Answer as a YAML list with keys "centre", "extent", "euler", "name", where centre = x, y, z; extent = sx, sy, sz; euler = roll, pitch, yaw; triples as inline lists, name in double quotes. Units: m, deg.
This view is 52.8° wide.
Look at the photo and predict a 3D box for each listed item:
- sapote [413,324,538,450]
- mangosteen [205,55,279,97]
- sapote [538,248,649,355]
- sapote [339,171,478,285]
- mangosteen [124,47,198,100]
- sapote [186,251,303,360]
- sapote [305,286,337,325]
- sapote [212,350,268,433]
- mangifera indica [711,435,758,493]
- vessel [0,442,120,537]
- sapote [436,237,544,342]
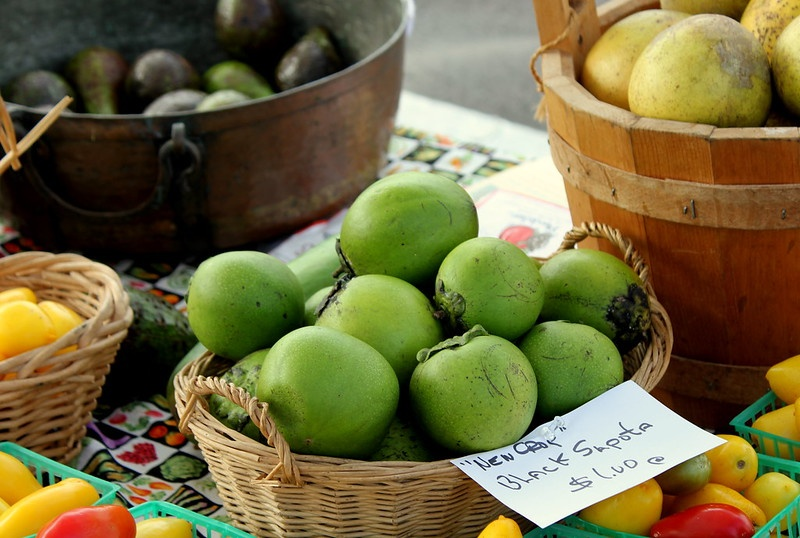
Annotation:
- centre: [0.098, 0.162, 1.035]
  extent: [0.159, 0.148, 0.158]
  euler: [-12, 11, -8]
  name: "sapote"
- centre: [-0.337, -0.385, 1.707]
  extent: [0.141, 0.090, 0.085]
  euler: [20, 34, 5]
  name: "mangosteen"
- centre: [0.271, 0.049, 1.172]
  extent: [0.143, 0.151, 0.190]
  euler: [-4, 11, -40]
  name: "sapote"
- centre: [0.007, -0.058, 1.156]
  extent: [0.207, 0.166, 0.158]
  euler: [-12, 17, -10]
  name: "sapote"
- centre: [-0.491, -0.398, 1.656]
  extent: [0.130, 0.099, 0.100]
  euler: [-4, 4, -15]
  name: "mangosteen"
- centre: [-0.212, 0.046, 1.084]
  extent: [0.176, 0.155, 0.139]
  euler: [-5, -6, -40]
  name: "sapote"
- centre: [-0.109, 0.044, 1.126]
  extent: [0.045, 0.034, 0.057]
  euler: [-28, 46, 15]
  name: "sapote"
- centre: [-0.194, 0.175, 1.084]
  extent: [0.076, 0.055, 0.097]
  euler: [7, 39, 22]
  name: "sapote"
- centre: [0.415, 0.245, 1.002]
  extent: [0.044, 0.048, 0.056]
  euler: [-25, 9, 26]
  name: "mangifera indica"
- centre: [-0.444, 0.282, 1.062]
  extent: [0.137, 0.047, 0.098]
  euler: [19, 24, 21]
  name: "vessel"
- centre: [0.119, 0.023, 1.111]
  extent: [0.151, 0.133, 0.128]
  euler: [-12, -10, -25]
  name: "sapote"
